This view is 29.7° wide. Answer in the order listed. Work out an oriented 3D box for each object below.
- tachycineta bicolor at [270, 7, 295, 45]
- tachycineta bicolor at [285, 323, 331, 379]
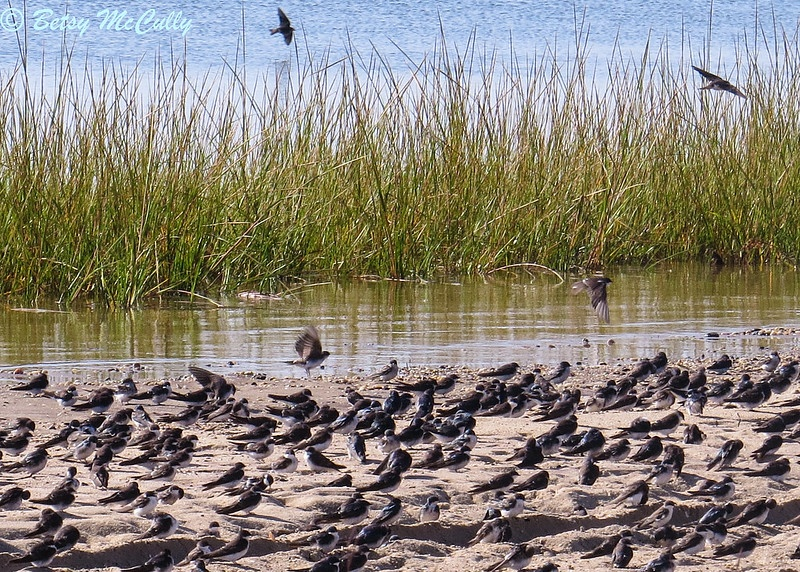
[{"bbox_3d":[-1.331,-2.888,16.886,0.291,0.142,0.504,7,-25,11],"label":"tachycineta bicolor"},{"bbox_3d":[-0.794,0.574,13.086,0.377,0.353,0.466,-7,-11,4],"label":"tachycineta bicolor"}]
